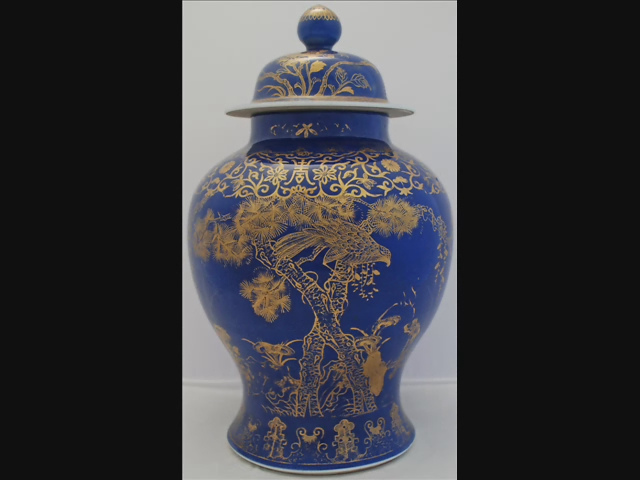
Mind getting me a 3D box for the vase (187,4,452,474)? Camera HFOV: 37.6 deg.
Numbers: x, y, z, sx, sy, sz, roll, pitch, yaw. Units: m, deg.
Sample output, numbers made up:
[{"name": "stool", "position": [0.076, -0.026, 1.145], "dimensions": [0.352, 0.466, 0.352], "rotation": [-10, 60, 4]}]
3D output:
[{"name": "vase", "position": [0.008, 0.079, 3.185], "dimensions": [0.890, 1.377, 0.487], "rotation": [-4, -14, 9]}]
